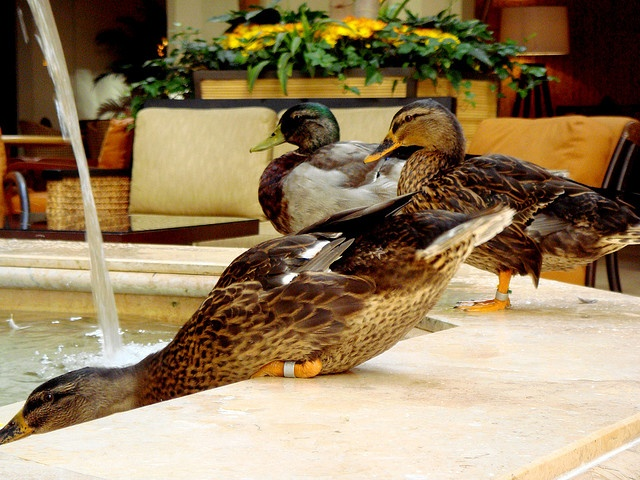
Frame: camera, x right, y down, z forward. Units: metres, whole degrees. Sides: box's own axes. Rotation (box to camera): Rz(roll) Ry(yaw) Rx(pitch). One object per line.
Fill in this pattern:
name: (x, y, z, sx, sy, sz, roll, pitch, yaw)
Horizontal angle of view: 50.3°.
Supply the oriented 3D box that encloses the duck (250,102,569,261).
duck: (0.372, -0.230, 2.433, 1.176, 0.515, 0.530, -1, 7, 20)
